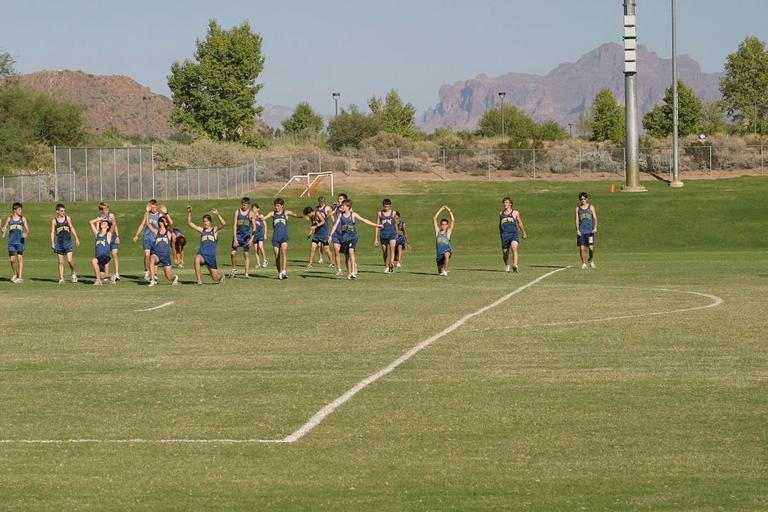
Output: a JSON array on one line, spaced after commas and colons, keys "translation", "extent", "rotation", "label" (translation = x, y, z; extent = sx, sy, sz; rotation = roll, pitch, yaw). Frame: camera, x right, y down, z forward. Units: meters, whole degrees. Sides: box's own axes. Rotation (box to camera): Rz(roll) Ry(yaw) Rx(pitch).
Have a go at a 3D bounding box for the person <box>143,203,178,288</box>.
[{"translation": [-8.168, -0.379, 56.283], "extent": [1.791, 3.036, 0.859], "rotation": [-1, 3, -11], "label": "person"}]
